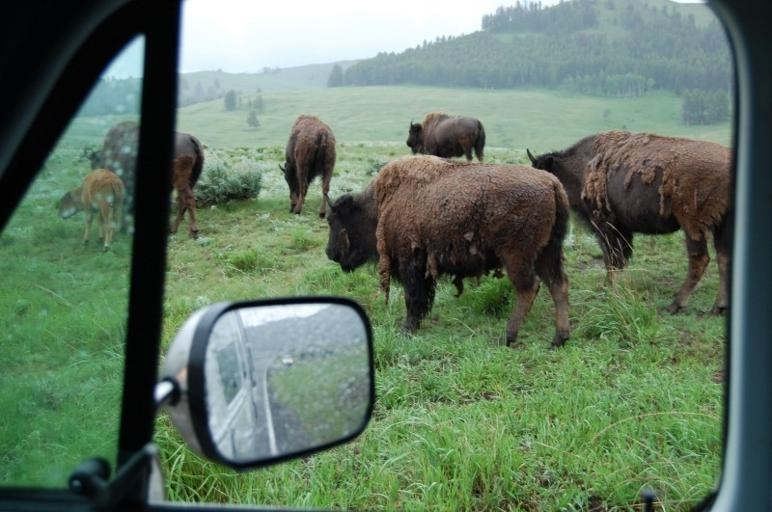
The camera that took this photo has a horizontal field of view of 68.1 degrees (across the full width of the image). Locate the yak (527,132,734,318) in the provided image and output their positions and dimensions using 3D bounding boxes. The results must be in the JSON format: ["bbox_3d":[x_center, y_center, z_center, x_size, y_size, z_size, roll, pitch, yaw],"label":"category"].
[{"bbox_3d":[3.241,-0.501,7.455,0.893,2.249,3.547,-9,13,-22],"label":"yak"}]

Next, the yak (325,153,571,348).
[{"bbox_3d":[0.623,-0.107,6.508,2.804,2.010,0.992,3,16,28],"label":"yak"}]

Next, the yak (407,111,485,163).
[{"bbox_3d":[1.780,-3.393,17.267,0.708,1.844,3.056,-14,15,-40],"label":"yak"}]

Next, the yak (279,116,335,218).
[{"bbox_3d":[-1.705,-2.224,12.874,1.275,2.547,1.633,0,16,-9],"label":"yak"}]
